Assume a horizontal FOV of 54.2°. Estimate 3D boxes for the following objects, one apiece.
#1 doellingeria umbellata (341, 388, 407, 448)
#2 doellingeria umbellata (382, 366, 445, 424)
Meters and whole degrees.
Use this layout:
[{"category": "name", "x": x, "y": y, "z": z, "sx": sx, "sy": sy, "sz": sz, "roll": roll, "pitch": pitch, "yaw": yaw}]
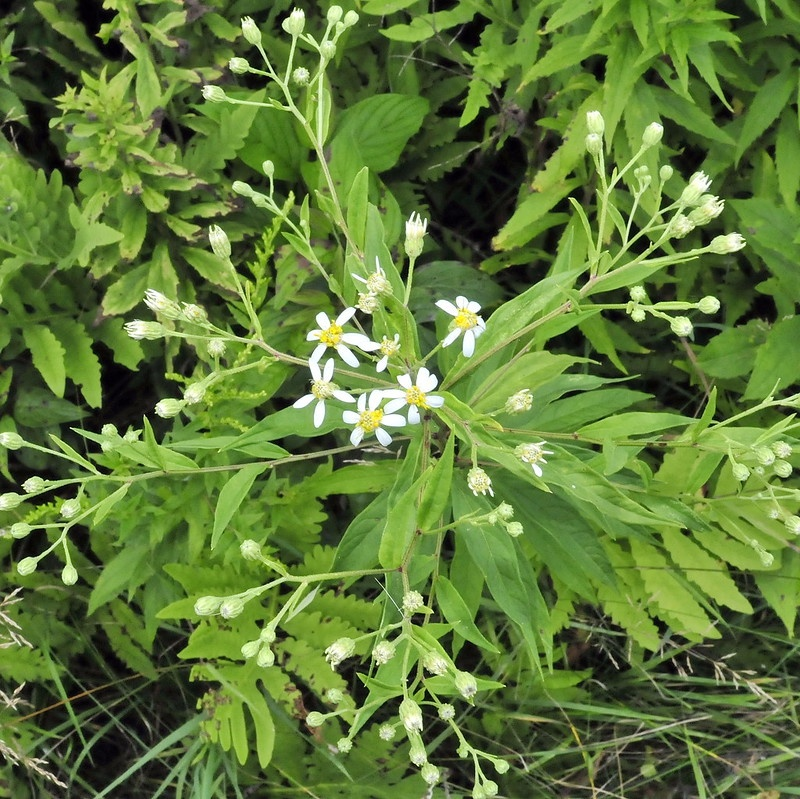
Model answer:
[{"category": "doellingeria umbellata", "x": -0.050, "y": 0.037, "z": 1.706, "sx": 0.142, "sy": 0.046, "sz": 0.122, "roll": -17, "pitch": 90, "yaw": 13}, {"category": "doellingeria umbellata", "x": 0.035, "y": -0.008, "z": 1.663, "sx": 0.114, "sy": 0.104, "sz": 0.117, "roll": 43, "pitch": 73, "yaw": 10}]
